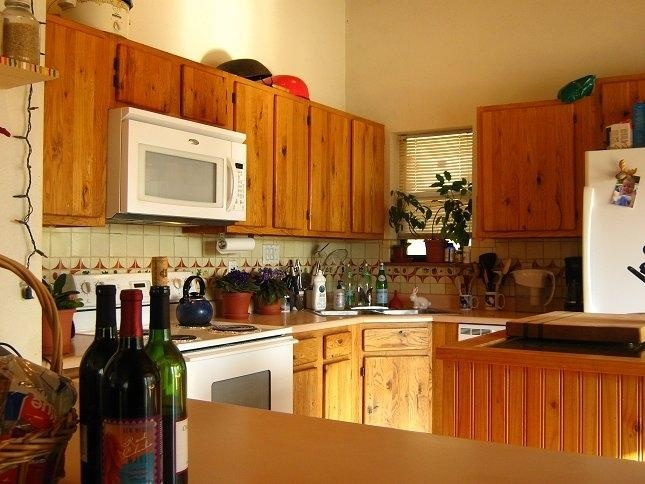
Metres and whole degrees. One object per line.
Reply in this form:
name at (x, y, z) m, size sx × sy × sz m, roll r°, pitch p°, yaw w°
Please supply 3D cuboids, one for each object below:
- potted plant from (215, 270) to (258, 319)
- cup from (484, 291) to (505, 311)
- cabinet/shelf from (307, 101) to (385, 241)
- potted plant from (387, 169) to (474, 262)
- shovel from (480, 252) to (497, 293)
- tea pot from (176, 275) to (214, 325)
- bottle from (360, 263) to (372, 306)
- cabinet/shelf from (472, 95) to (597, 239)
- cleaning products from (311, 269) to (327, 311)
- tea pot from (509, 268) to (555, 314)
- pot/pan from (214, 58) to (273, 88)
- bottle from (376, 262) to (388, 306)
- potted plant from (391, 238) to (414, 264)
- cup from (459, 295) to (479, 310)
potted plant at (-0.507, 0.330, 3.400) m, size 0.282 × 0.285 × 0.281 m, roll 1°, pitch -9°, yaw -7°
cup at (1.201, 0.410, 3.857) m, size 0.152 × 0.137 × 0.099 m, roll 0°, pitch -1°, yaw 9°
cabinet/shelf at (0.305, -0.520, 4.017) m, size 0.375 × 0.950 × 1.010 m, roll -7°, pitch 12°, yaw -40°
potted plant at (0.852, -0.180, 4.310) m, size 0.714 × 0.625 × 0.574 m, roll -1°, pitch 1°, yaw -4°
shovel at (1.191, 0.209, 3.927) m, size 0.097 × 0.294 × 0.068 m, roll 0°, pitch -20°, yaw 10°
tea pot at (-0.670, 0.334, 3.050) m, size 0.197 × 0.287 × 0.264 m, roll 2°, pitch -3°, yaw -33°
bottle at (0.349, 0.323, 4.325) m, size 0.099 × 0.357 × 0.304 m, roll 5°, pitch -7°, yaw 5°
cabinet/shelf at (1.378, -0.392, 3.955) m, size 0.866 × 1.240 × 0.800 m, roll -2°, pitch -8°, yaw 26°
cleaning products at (-0.022, 0.331, 3.734) m, size 0.101 × 0.284 × 0.152 m, roll 6°, pitch -7°, yaw -3°
tea pot at (1.452, 0.318, 3.739) m, size 0.334 × 0.315 × 0.217 m, roll 1°, pitch 1°, yaw 33°
pot/pan at (-0.435, -1.012, 3.307) m, size 0.220 × 0.071 × 0.224 m, roll 6°, pitch 2°, yaw 23°
bottle at (0.460, 0.321, 4.221) m, size 0.102 × 0.336 × 0.255 m, roll 5°, pitch -7°, yaw 6°
potted plant at (0.629, 0.075, 4.429) m, size 0.171 × 0.191 × 0.172 m, roll -3°, pitch -7°, yaw 42°
cup at (1.052, 0.432, 3.937) m, size 0.126 × 0.093 × 0.081 m, roll 1°, pitch -2°, yaw 9°
